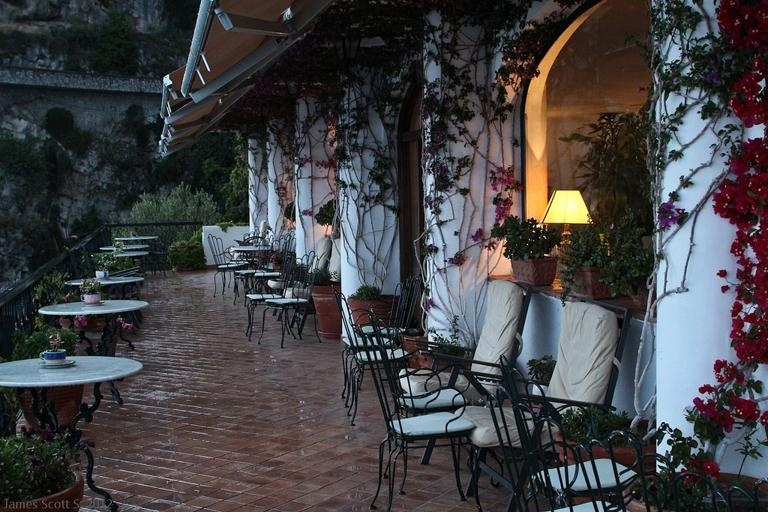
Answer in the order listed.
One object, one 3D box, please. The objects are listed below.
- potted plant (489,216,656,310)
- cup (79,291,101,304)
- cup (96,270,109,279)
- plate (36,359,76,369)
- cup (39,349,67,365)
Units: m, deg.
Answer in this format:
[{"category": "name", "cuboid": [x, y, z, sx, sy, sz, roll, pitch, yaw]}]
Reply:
[{"category": "potted plant", "cuboid": [1.643, 0.009, 4.876, 0.737, 0.489, 1.567, 4, 2, -12]}, {"category": "cup", "cuboid": [-3.146, 0.444, 6.184, 0.166, 0.090, 0.125, 0, 0, -19]}, {"category": "cup", "cuboid": [-3.731, 0.243, 7.671, 0.110, 0.079, 0.128, 1, -4, -10]}, {"category": "plate", "cuboid": [-2.305, 0.750, 4.085, 0.230, 0.054, 0.195, 3, 2, -29]}, {"category": "cup", "cuboid": [-2.341, 0.709, 4.085, 0.138, 0.083, 0.106, 0, -2, 14]}]
